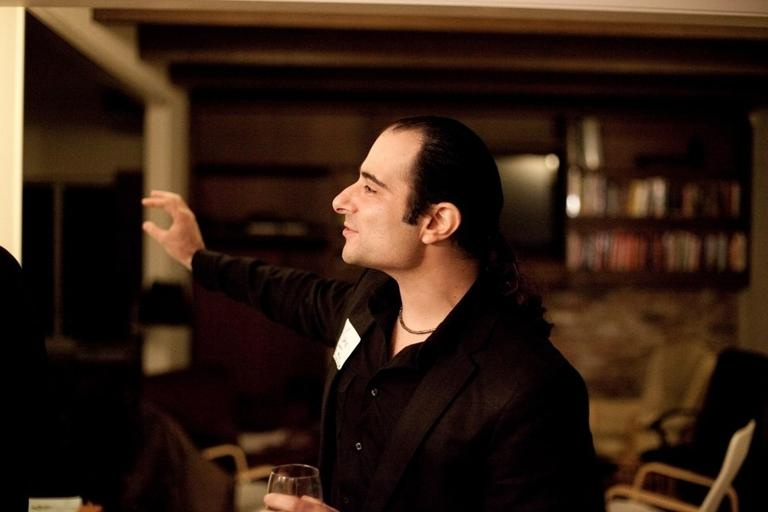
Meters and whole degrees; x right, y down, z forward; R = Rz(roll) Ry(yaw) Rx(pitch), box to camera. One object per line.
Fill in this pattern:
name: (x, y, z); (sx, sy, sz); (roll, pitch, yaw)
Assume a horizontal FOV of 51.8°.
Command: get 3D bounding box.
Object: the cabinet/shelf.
cabinet/shelf: (0.971, -0.180, 2.875); (0.638, 0.541, 0.211); (1, 3, 2)
